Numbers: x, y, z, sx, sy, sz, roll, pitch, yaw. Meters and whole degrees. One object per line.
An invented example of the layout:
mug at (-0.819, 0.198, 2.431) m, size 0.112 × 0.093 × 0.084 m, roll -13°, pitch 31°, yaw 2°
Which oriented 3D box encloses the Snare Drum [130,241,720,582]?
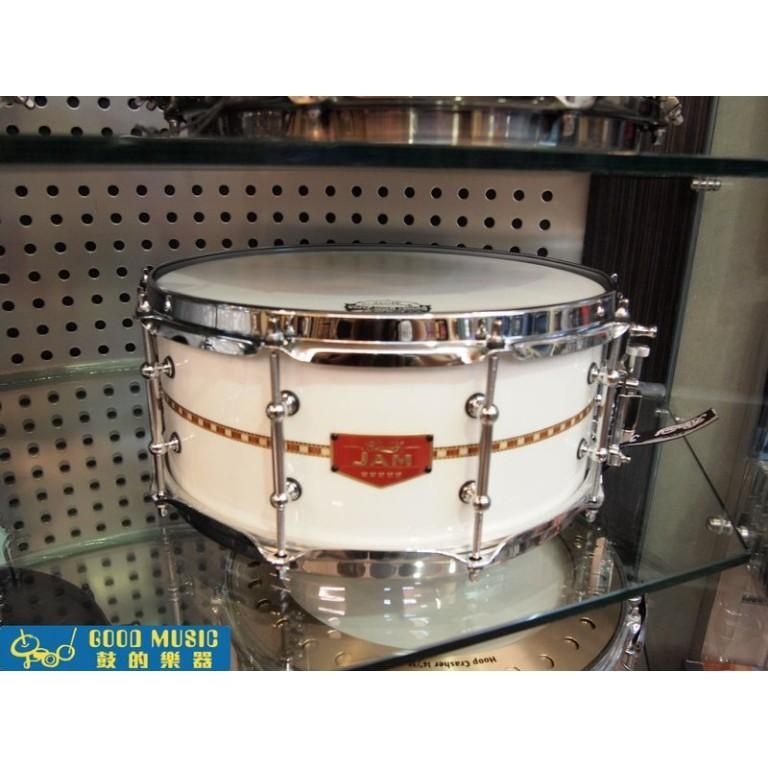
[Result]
Snare Drum at (0.033, 0.035, 0.874) m, size 0.568 × 0.181 × 0.432 m, roll -2°, pitch 8°, yaw -23°
